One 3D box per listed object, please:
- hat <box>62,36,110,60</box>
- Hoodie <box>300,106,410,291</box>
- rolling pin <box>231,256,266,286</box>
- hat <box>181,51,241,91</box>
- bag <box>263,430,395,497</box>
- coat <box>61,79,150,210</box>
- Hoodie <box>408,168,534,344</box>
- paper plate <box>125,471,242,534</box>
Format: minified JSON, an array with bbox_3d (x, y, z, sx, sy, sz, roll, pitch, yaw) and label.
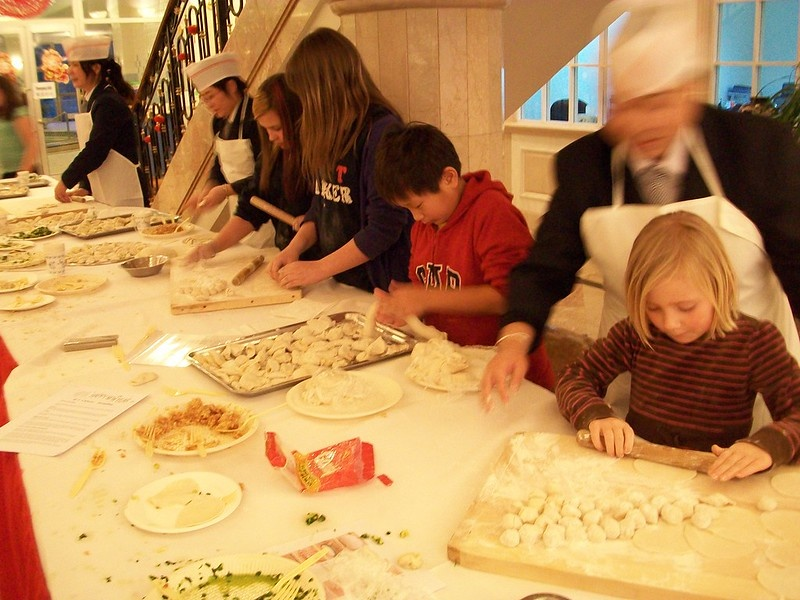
[{"bbox_3d":[-2.939,-2.441,5.581,0.284,0.175,0.339,20,34,38],"label":"hat"},{"bbox_3d":[-0.194,-0.478,2.740,0.482,0.673,0.725,-1,25,-23],"label":"Hoodie"},{"bbox_3d":[-0.790,-0.154,3.080,0.044,0.039,0.259,-23,12,22],"label":"rolling pin"},{"bbox_3d":[-1.294,-1.621,4.040,0.263,0.177,0.334,-16,27,7],"label":"hat"},{"bbox_3d":[-0.193,0.409,1.475,0.183,0.067,0.175,-13,32,-13],"label":"bag"},{"bbox_3d":[-2.976,-1.389,5.784,0.784,1.201,0.845,-11,8,-34],"label":"coat"},{"bbox_3d":[0.255,-0.151,2.240,0.243,0.630,0.561,-11,19,-32],"label":"Hoodie"},{"bbox_3d":[-0.519,0.480,1.424,0.255,0.036,0.193,-6,16,-20],"label":"paper plate"}]
